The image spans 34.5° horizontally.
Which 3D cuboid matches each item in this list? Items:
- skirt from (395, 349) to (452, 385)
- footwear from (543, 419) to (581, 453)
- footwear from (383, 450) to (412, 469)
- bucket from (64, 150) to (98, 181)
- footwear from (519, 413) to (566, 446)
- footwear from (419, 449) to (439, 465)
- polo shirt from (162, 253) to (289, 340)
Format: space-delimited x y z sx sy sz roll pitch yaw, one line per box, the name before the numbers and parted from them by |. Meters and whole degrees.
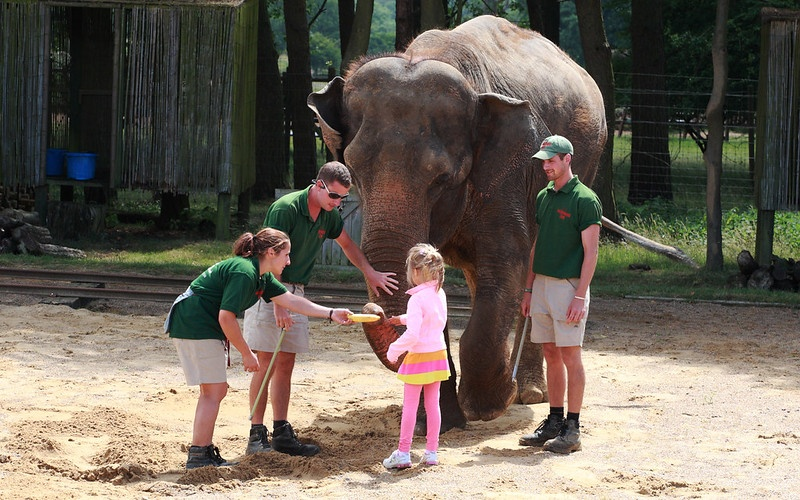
skirt | 0.357 1.681 18.544 0.750 0.492 0.467 0 6 -3
footwear | 2.386 2.713 18.996 0.339 0.499 0.788 -1 -5 44
footwear | -0.040 3.003 18.530 0.460 0.236 0.195 0 -1 32
bucket | -7.028 -1.877 28.571 0.625 0.487 0.646 0 5 0
footwear | 2.140 2.675 19.203 0.887 0.380 0.297 -4 2 -31
footwear | 0.422 2.968 18.559 0.262 0.176 0.161 -1 1 -35
polo shirt | -2.477 0.704 18.380 1.390 1.026 1.043 13 -3 1
